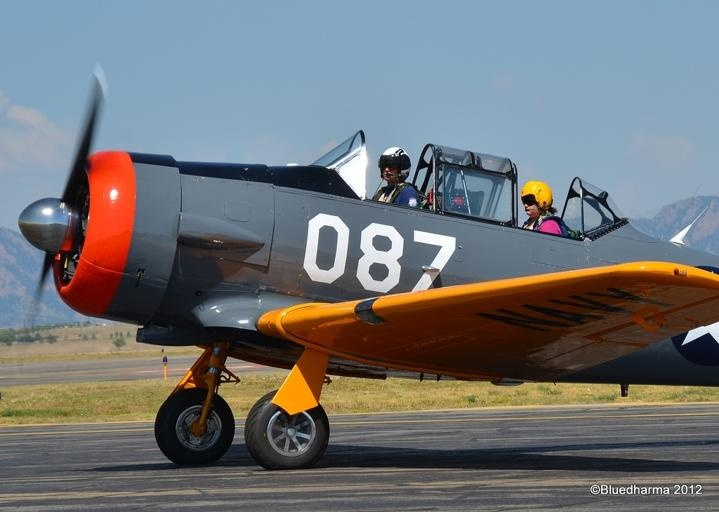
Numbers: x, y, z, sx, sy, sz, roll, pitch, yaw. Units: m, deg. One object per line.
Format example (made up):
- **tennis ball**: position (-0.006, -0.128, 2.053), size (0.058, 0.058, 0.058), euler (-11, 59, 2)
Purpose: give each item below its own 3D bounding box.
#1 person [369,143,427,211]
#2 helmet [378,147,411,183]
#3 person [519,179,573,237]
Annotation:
- **person**: position (0.592, -1.093, 12.661), size (0.606, 0.778, 0.965), euler (-1, 13, -21)
- **helmet**: position (0.554, -1.317, 12.759), size (0.466, 0.409, 0.483), euler (7, 12, 29)
- **person**: position (2.444, -0.555, 12.032), size (0.527, 0.492, 0.983), euler (6, -6, -23)
